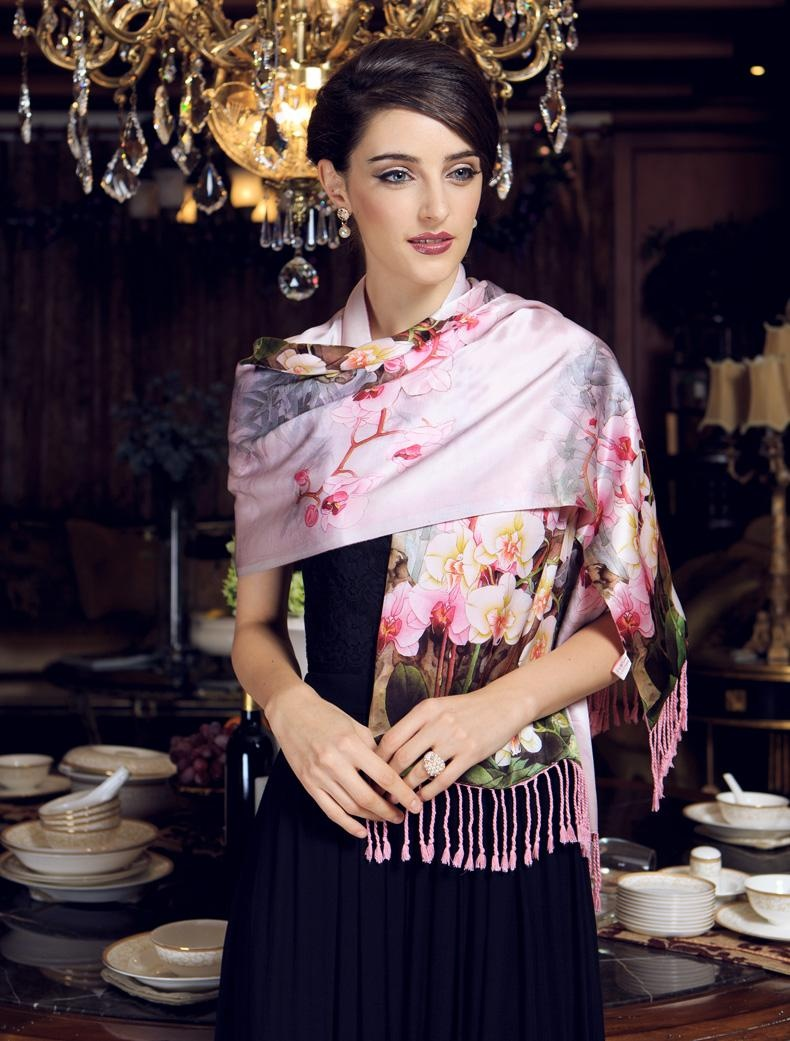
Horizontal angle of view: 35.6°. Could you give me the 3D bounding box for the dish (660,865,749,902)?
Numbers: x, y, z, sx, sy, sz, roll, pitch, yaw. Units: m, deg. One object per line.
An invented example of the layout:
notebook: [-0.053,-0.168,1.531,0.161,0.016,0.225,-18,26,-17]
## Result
dish: [0.436,0.491,1.663,0.075,0.017,0.076,2,4,41]

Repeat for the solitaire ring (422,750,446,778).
solitaire ring: [0.032,0.208,1.042,0.020,0.021,0.007,2,8,2]
